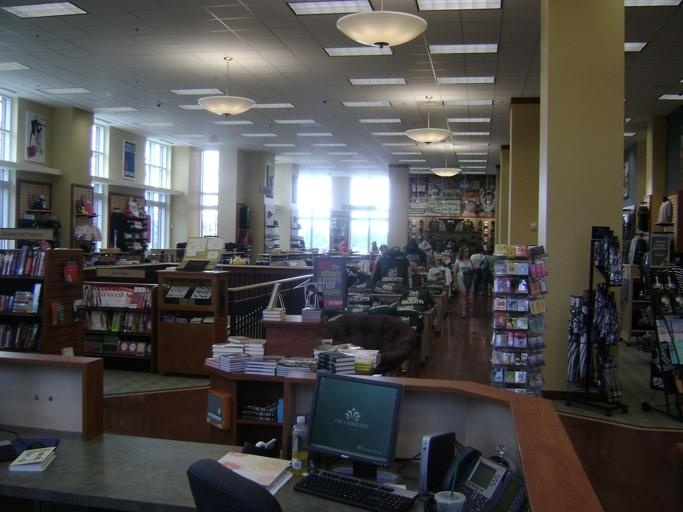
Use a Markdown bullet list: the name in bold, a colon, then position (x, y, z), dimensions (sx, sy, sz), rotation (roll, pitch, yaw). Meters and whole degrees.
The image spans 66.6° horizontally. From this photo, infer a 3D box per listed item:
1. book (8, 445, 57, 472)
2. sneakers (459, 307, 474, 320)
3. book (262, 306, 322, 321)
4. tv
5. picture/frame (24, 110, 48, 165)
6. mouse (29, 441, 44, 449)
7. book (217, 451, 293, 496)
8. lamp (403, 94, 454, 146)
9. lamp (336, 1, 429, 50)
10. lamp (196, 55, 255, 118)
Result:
- **book**: position (-1.944, 1.272, 3.259), dimensions (0.215, 0.075, 0.230), rotation (2, 0, -8)
- **sneakers**: position (3.071, 1.411, 12.534), dimensions (0.197, 0.247, 0.642), rotation (-2, -6, 12)
- **book**: position (-0.549, 0.620, 5.611), dimensions (0.495, 0.112, 0.456), rotation (1, 0, 11)
- **tv**: position (0.092, 1.057, 3.214), dimensions (0.547, 0.451, 0.209), rotation (7, -32, 22)
- **picture/frame**: position (-8.597, -3.297, 14.491), dimensions (0.298, 1.468, 0.803), rotation (2, 0, 7)
- **mouse**: position (-2.033, 1.243, 3.432), dimensions (0.041, 0.017, 0.048), rotation (0, 4, 1)
- **book**: position (-0.540, 1.296, 3.187), dimensions (0.412, 0.094, 0.413), rotation (2, 2, 24)
- **lamp**: position (2.116, -3.295, 13.361), dimensions (1.381, 1.353, 1.392), rotation (4, 3, 36)
- **lamp**: position (0.605, -3.379, 7.529), dimensions (1.008, 0.666, 0.987), rotation (1, -3, -1)
- **lamp**: position (-2.426, -3.626, 10.967), dimensions (1.259, 1.208, 1.216), rotation (-2, 10, -22)
